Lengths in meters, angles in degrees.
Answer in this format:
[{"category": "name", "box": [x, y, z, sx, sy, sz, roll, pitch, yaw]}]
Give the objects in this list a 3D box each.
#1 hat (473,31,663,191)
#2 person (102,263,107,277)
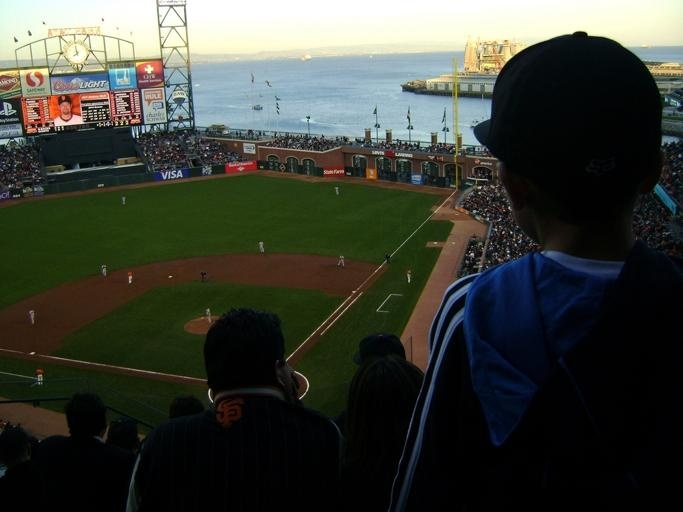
[{"category": "hat", "box": [0.918, -0.626, 2.524, 0.534, 0.408, 0.726, -6, 24, -7]}, {"category": "person", "box": [-14.825, 0.877, 37.212, 0.452, 0.583, 1.029, 6, 22, -22]}]
